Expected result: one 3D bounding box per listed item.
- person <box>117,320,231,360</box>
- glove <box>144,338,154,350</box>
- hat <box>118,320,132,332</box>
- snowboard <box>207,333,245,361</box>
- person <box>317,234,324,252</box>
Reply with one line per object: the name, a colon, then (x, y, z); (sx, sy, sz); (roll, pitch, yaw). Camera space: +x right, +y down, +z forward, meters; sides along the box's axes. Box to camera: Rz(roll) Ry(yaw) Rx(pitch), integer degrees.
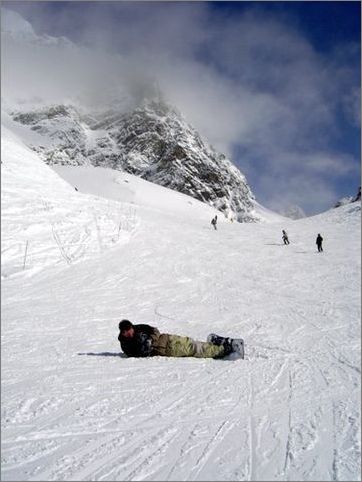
person: (-0.076, 1.404, 6.377); (1.356, 0.370, 0.726); (1, 7, -2)
glove: (-0.456, 1.483, 6.248); (0.107, 0.070, 0.137); (12, 29, -3)
hat: (-0.789, 1.207, 6.200); (0.146, 0.161, 0.174); (0, 3, 9)
snowboard: (0.672, 1.555, 6.423); (0.449, 0.187, 0.318); (2, 6, 3)
person: (5.616, 0.027, 17.313); (0.223, 0.692, 1.288); (2, 7, 18)
